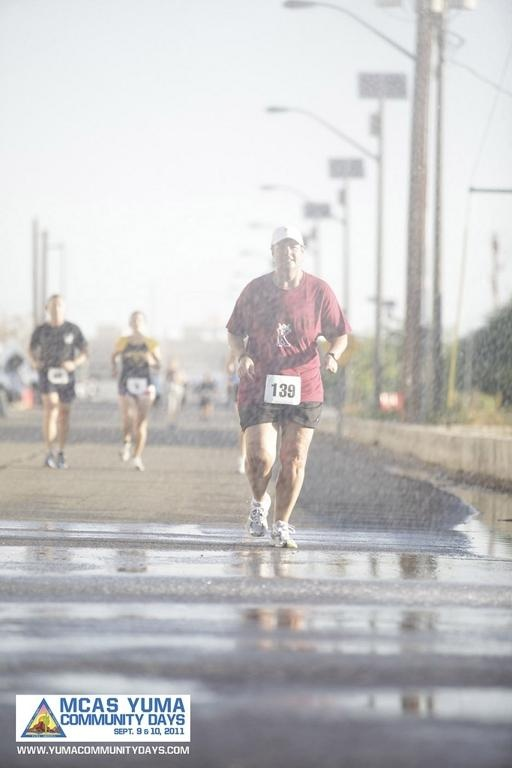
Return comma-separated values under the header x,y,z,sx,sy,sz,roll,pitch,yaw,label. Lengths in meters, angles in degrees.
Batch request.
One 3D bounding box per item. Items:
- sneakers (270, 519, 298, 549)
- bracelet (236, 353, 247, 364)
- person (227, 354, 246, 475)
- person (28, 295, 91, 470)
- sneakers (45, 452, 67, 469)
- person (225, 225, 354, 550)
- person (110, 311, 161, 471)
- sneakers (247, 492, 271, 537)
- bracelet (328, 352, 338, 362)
x,y,z,sx,sy,sz,roll,pitch,yaw,label
0.136,0.799,8.597,0.067,0.120,0.220,0,-6,-11,sneakers
-0.072,-0.134,8.241,0.033,0.044,0.038,-2,2,24,bracelet
-0.170,0.181,13.688,0.147,1.162,0.161,-1,4,32,person
-1.173,-0.011,9.643,0.324,1.031,0.270,2,2,35,person
-1.194,0.463,9.716,0.149,0.142,0.059,1,1,8,sneakers
0.150,0.023,8.457,0.624,1.690,0.588,1,2,4,person
-0.726,0.043,9.827,0.306,0.965,0.256,0,2,-34,person
0.021,0.730,8.709,0.077,0.305,0.110,2,-7,-1,sneakers
0.386,-0.144,8.250,0.009,0.043,0.040,-26,18,-13,bracelet
